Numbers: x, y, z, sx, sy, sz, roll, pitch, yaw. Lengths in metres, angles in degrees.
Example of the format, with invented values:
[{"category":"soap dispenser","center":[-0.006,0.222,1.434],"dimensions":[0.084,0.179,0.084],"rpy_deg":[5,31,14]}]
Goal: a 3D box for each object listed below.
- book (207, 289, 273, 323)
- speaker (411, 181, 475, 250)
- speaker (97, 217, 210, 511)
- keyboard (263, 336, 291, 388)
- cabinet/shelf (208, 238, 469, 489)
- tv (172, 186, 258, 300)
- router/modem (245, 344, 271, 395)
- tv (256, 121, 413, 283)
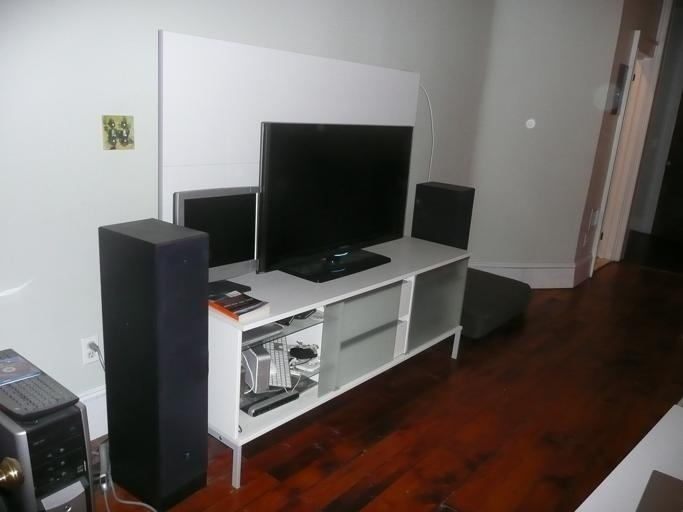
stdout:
[{"category":"book","center":[-0.425,0.218,2.178],"dimensions":[0.144,0.038,0.147],"rpy_deg":[24,25,37]},{"category":"speaker","center":[0.697,-0.280,3.525],"dimensions":[0.342,0.513,0.242],"rpy_deg":[21,27,38]},{"category":"speaker","center":[-0.790,0.475,2.085],"dimensions":[0.442,1.159,0.316],"rpy_deg":[5,19,14]},{"category":"keyboard","center":[-0.313,0.550,2.536],"dimensions":[0.182,0.316,0.071],"rpy_deg":[2,-20,-23]},{"category":"cabinet/shelf","center":[-0.017,0.438,2.895],"dimensions":[0.617,0.808,1.795],"rpy_deg":[18,21,42]},{"category":"tv","center":[-0.582,-0.070,2.268],"dimensions":[0.407,0.490,0.148],"rpy_deg":[-15,24,-42]},{"category":"router/modem","center":[-0.436,0.516,2.508],"dimensions":[0.079,0.233,0.234],"rpy_deg":[-9,6,-2]},{"category":"tv","center":[0.002,-0.338,2.928],"dimensions":[1.104,0.852,0.313],"rpy_deg":[-12,24,-41]}]
